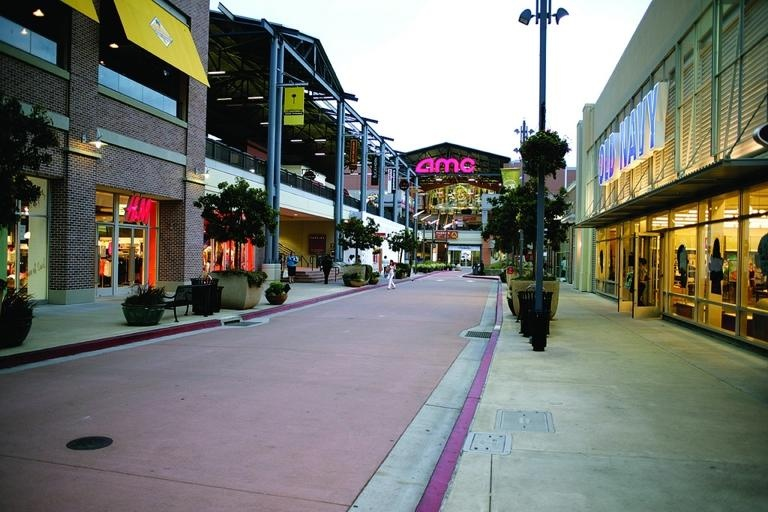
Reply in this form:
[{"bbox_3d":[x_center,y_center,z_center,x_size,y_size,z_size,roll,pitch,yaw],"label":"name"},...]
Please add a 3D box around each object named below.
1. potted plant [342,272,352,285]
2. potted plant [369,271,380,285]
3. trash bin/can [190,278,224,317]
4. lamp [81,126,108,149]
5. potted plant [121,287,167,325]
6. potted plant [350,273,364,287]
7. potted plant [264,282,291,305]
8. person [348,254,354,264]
[{"bbox_3d":[-2.366,1.496,36.594,0.690,0.717,0.687,1,-5,-10],"label":"potted plant"},{"bbox_3d":[-0.554,1.613,40.266,0.726,0.920,0.712,2,-2,-20],"label":"potted plant"},{"bbox_3d":[-6.055,1.352,19.147,1.072,1.042,1.455,0,0,1],"label":"trash bin/can"},{"bbox_3d":[-11.244,-4.591,22.005,0.693,0.957,0.697,0,-1,33],"label":"lamp"},{"bbox_3d":[-6.989,1.482,16.582,1.175,1.253,1.181,0,0,-25],"label":"potted plant"},{"bbox_3d":[-1.685,1.508,36.518,0.974,0.813,0.494,-1,7,-15],"label":"potted plant"},{"bbox_3d":[-4.323,1.466,23.286,0.909,0.988,1.029,-5,7,-26],"label":"potted plant"},{"bbox_3d":[-2.970,0.300,52.099,0.603,0.872,0.892,-1,-1,33],"label":"person"}]
